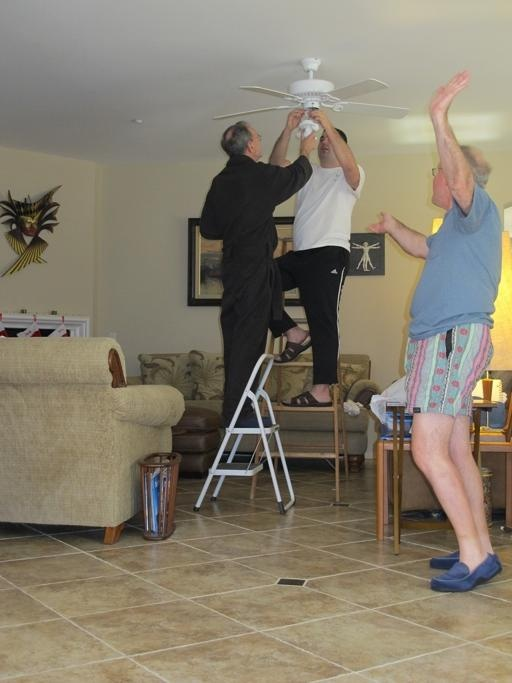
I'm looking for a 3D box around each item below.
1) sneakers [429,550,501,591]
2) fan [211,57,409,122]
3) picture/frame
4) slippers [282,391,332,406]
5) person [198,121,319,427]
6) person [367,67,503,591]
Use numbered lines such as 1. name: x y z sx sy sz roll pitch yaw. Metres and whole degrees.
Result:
1. sneakers: 0.660 0.680 2.068 0.280 0.086 0.096 0 -16 -38
2. fan: 0.345 -1.584 4.220 0.908 0.201 0.757 -2 6 -30
3. picture/frame: -0.195 -0.735 6.376 1.210 0.887 0.100 8 10 41
4. slippers: 0.270 0.307 3.654 0.265 0.078 0.087 2 -6 -7
5. person: -0.015 -0.335 3.431 0.571 1.530 0.334 2 5 0
6. person: 0.621 -0.019 2.073 0.302 1.490 0.354 2 5 10
